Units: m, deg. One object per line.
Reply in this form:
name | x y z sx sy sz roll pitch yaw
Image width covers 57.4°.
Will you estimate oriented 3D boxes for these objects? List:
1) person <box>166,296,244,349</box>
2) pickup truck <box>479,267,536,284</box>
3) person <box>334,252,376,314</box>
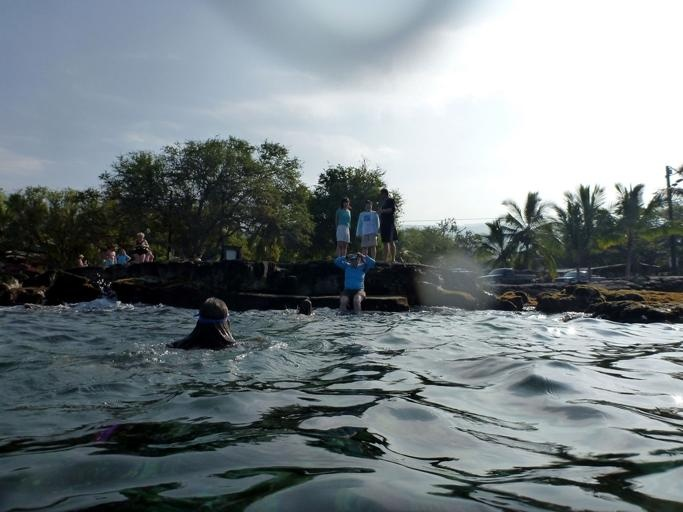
person | -1.746 1.004 8.271 1.169 0.738 0.582 3 -9 19
pickup truck | 10.810 1.519 40.313 3.268 1.076 1.501 2 0 5
person | 0.291 0.583 14.328 0.759 1.480 1.071 1 8 0
